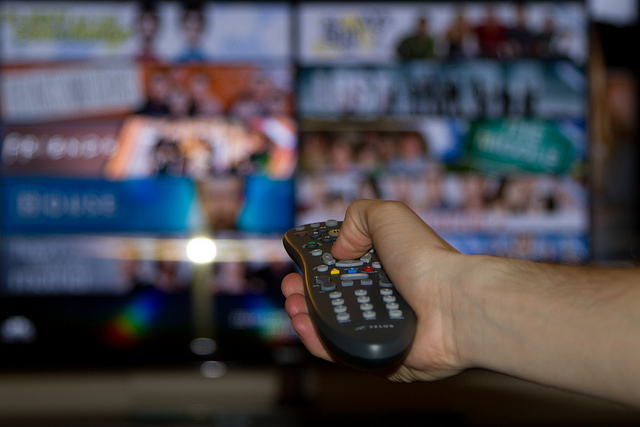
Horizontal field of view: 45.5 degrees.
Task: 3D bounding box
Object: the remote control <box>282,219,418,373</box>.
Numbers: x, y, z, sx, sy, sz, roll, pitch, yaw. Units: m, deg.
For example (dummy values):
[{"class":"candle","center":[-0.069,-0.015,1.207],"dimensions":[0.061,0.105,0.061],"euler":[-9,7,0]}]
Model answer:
[{"class":"remote control","center":[0.066,0.187,1.851],"dimensions":[0.259,0.124,0.540],"euler":[-3,29,-10]}]
